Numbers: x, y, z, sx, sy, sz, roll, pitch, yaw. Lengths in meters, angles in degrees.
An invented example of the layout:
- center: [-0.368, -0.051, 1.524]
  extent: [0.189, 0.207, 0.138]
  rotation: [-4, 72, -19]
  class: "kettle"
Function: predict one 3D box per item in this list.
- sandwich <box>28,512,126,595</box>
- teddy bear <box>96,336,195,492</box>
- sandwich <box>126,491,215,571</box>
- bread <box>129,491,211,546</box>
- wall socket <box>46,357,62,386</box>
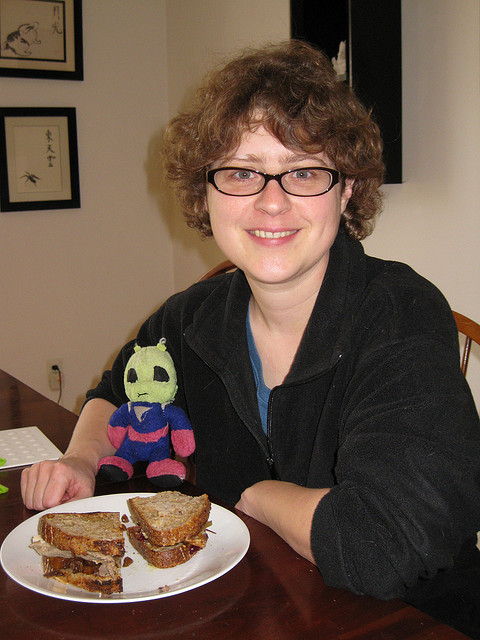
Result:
- center: [-0.176, 0.250, 0.657]
  extent: [0.100, 0.036, 0.134]
  rotation: [-1, -4, -28]
  class: "sandwich"
- center: [-0.148, 0.151, 0.921]
  extent: [0.162, 0.224, 0.131]
  rotation: [0, 0, 22]
  class: "teddy bear"
- center: [-0.085, 0.241, 0.669]
  extent: [0.069, 0.018, 0.067]
  rotation: [-8, 10, -21]
  class: "sandwich"
- center: [-0.081, 0.235, 0.710]
  extent: [0.097, 0.023, 0.101]
  rotation: [-12, 19, -36]
  class: "bread"
- center: [-0.946, 0.266, 2.941]
  extent: [0.084, 0.134, 0.026]
  rotation: [-11, 14, -44]
  class: "wall socket"
